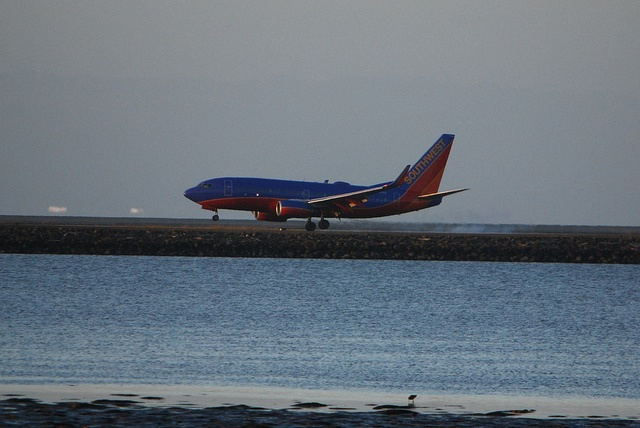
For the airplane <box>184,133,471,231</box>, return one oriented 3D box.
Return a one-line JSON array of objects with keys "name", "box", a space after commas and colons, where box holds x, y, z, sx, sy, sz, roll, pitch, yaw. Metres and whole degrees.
[{"name": "airplane", "box": [2.550, -1.251, 81.373, 17.713, 4.209, 7.465, -7, 16, -29]}]
